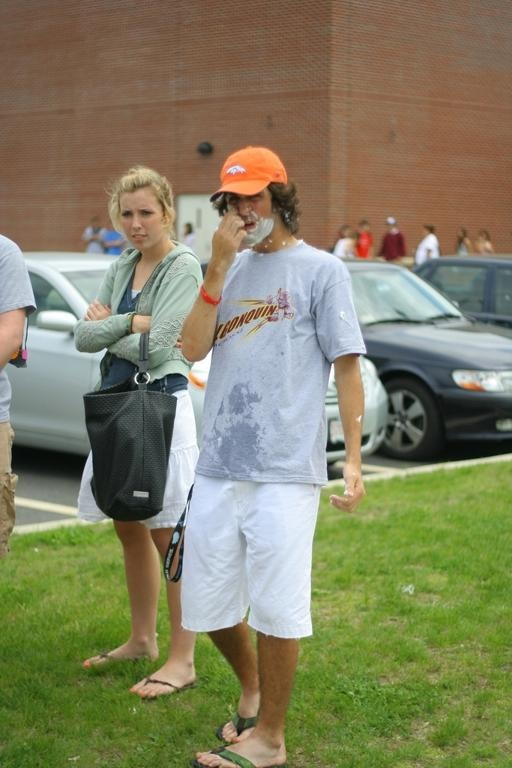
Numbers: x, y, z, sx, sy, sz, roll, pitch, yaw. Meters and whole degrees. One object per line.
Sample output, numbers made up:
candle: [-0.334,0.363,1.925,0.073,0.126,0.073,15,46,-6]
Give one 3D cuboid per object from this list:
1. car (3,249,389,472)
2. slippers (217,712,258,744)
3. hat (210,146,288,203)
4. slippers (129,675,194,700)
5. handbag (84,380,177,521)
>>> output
car: [-0.570,-0.234,6.642,2.989,1.184,1.491,1,4,28]
slippers: [-0.066,1.073,2.715,0.136,0.033,0.062,-31,29,-28]
hat: [-0.029,-0.605,2.474,0.193,0.142,0.165,2,9,20]
slippers: [-0.329,1.064,3.032,0.156,0.032,0.075,6,-10,-28]
handbag: [-0.422,0.238,2.887,0.305,0.429,0.198,-2,9,-3]
